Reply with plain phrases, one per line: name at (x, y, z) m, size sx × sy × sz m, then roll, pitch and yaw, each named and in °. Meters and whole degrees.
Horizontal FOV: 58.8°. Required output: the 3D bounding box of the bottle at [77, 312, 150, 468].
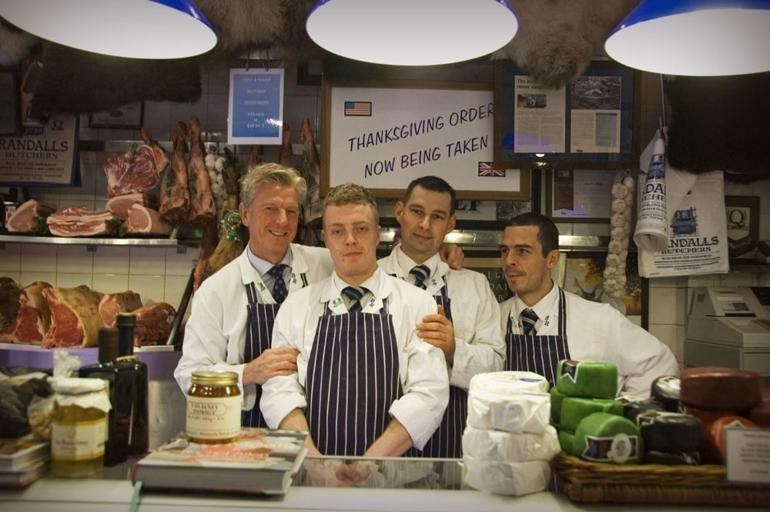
bottle at (-1.254, 0.663, 3.330) m, size 0.340 × 0.814 × 0.246 m, roll 0°, pitch -5°, yaw 9°

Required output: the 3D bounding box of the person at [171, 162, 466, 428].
person at (-0.823, 0.201, 4.279) m, size 0.731 × 1.724 × 0.787 m, roll 0°, pitch -2°, yaw -4°

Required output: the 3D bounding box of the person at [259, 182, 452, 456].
person at (-0.179, 0.359, 3.904) m, size 1.035 × 1.548 × 0.580 m, roll 0°, pitch 1°, yaw -12°

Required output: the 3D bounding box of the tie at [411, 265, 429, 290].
tie at (0.248, 0.143, 4.731) m, size 0.107 × 0.162 × 0.043 m, roll 0°, pitch -4°, yaw 1°

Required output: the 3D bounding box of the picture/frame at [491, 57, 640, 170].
picture/frame at (1.381, -1.087, 5.339) m, size 0.860 × 0.617 × 0.069 m, roll -1°, pitch 3°, yaw -1°

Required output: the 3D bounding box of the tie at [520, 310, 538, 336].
tie at (1.009, 0.464, 4.809) m, size 0.121 × 0.163 × 0.049 m, roll 0°, pitch -6°, yaw 18°

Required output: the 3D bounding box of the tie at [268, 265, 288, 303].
tie at (-0.670, 0.169, 4.288) m, size 0.134 × 0.225 × 0.057 m, roll -1°, pitch -3°, yaw -6°
